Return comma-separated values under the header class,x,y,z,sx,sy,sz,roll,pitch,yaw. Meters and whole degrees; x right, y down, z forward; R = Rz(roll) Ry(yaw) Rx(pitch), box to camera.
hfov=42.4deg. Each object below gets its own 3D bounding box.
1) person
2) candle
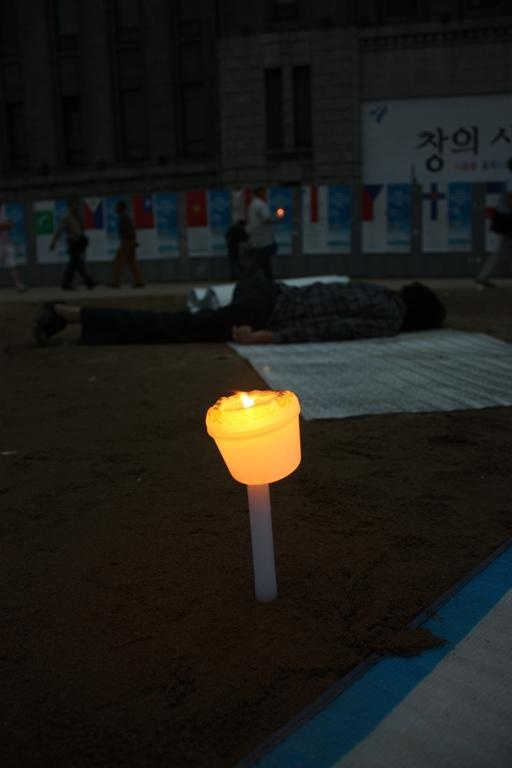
class,x,y,z,sx,sy,sz,roll,pitch,yaw
person,-0.007,-0.592,5.333,3.163,0.543,0.523,-3,11,-7
candle,-0.001,0.099,1.370,0.193,0.154,0.190,-19,13,-1
